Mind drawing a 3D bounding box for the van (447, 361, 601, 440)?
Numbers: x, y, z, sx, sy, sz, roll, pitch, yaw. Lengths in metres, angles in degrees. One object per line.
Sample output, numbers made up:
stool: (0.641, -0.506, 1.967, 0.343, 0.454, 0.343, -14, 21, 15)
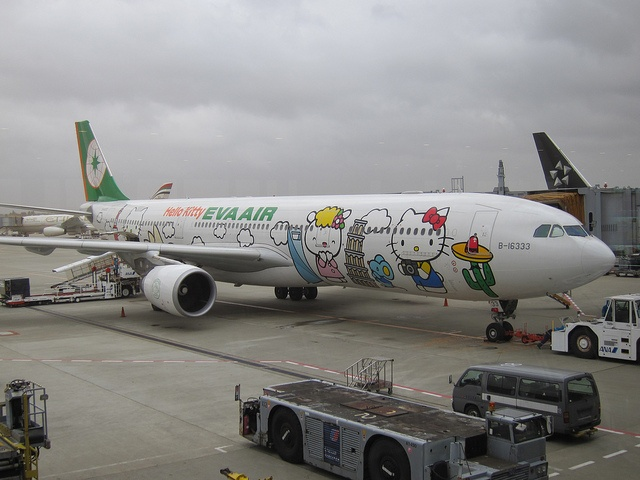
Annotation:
van: (4.544, 3.478, 13.032, 2.998, 0.915, 1.599, 1, 1, 38)
